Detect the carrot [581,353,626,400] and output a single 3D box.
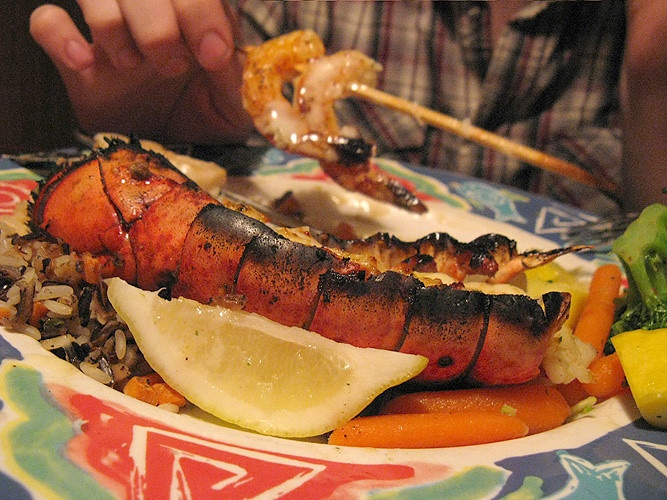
[{"bbox_3d":[1.303,0.615,3.329,0.180,0.236,0.143,-4,24,-41],"label":"carrot"}]
